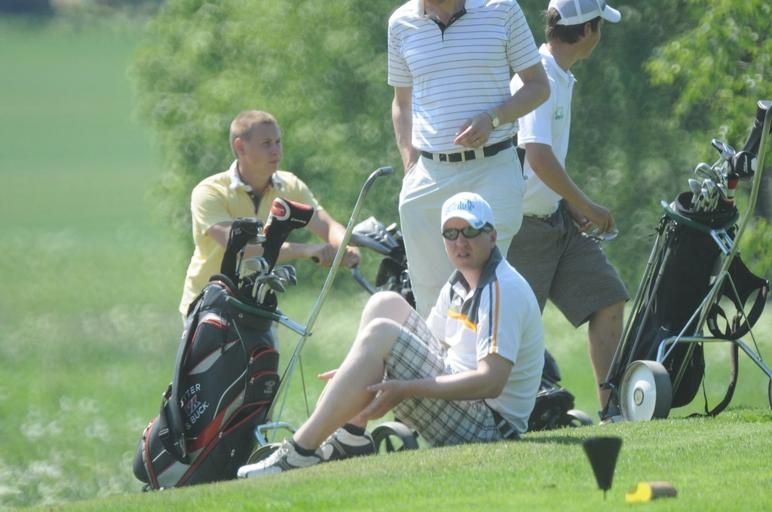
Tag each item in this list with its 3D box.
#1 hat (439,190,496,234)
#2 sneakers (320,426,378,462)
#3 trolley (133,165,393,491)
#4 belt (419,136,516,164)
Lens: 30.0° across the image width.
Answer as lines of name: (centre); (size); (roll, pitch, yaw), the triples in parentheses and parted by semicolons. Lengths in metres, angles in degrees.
hat: (0.727, -0.405, 13.402); (0.269, 0.501, 0.661); (1, -3, 0)
sneakers: (-0.348, 1.708, 13.198); (0.581, 0.287, 0.217); (0, -2, -22)
trolley: (-1.293, 0.805, 14.120); (2.107, 3.462, 1.353); (8, 2, 12)
belt: (0.767, -1.023, 13.860); (0.889, 0.177, 0.207); (-5, 11, 4)
